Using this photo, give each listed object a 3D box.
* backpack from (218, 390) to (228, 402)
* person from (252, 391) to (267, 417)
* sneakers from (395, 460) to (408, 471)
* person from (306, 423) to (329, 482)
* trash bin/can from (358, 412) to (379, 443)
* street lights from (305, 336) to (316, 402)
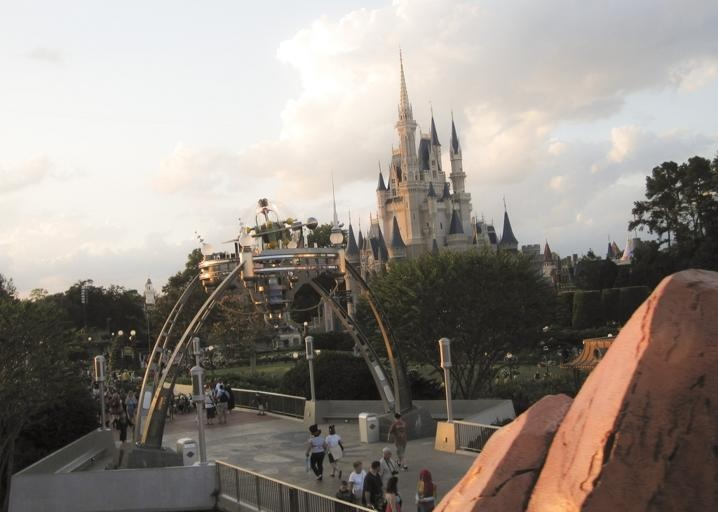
[{"bbox_3d":[-5.810,6.005,38.458,0.457,0.669,0.337,7,-14,-40],"label":"backpack"},{"bbox_3d":[-4.394,6.609,40.183,0.516,1.015,1.694,-2,0,-8],"label":"person"},{"bbox_3d":[1.326,6.578,27.943,0.163,0.529,0.219,-7,26,20],"label":"sneakers"},{"bbox_3d":[-1.338,6.076,28.242,0.603,1.722,1.542,-2,0,-3],"label":"person"},{"bbox_3d":[0.404,6.229,32.420,0.713,1.099,0.688,-2,0,1],"label":"trash bin/can"},{"bbox_3d":[-1.977,4.532,36.015,0.451,2.661,0.505,-10,-8,43],"label":"street lights"}]
